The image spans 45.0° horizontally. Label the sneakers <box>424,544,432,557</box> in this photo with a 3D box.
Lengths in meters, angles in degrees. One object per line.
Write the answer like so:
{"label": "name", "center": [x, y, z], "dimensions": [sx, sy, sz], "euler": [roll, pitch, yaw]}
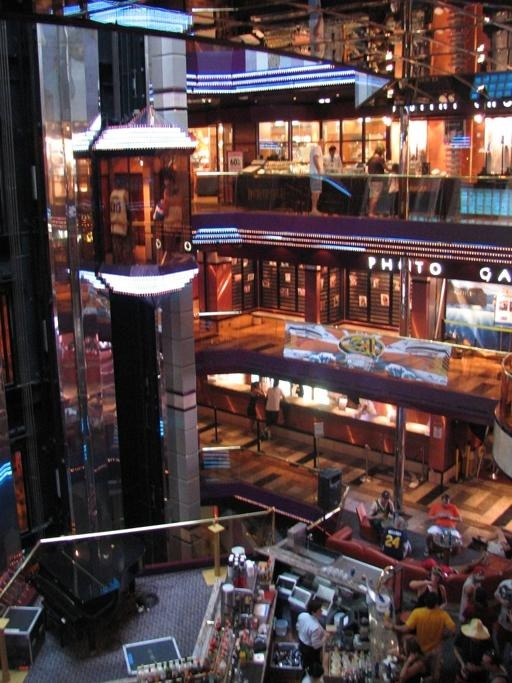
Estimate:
{"label": "sneakers", "center": [3.562, 4.316, 12.722], "dimensions": [0.102, 0.272, 0.250], "euler": [-2, -3, 7]}

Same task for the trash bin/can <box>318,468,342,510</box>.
{"label": "trash bin/can", "center": [1.684, 3.415, 14.157], "dimensions": [0.466, 1.108, 0.668], "euler": [4, 12, 27]}

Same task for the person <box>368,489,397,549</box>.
{"label": "person", "center": [2.787, 3.858, 13.406], "dimensions": [0.481, 1.328, 0.709], "euler": [-4, 7, -5]}

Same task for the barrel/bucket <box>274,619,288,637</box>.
{"label": "barrel/bucket", "center": [0.257, 3.017, 6.462], "dimensions": [0.101, 0.132, 0.158], "euler": [1, 3, 5]}

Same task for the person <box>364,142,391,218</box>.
{"label": "person", "center": [2.926, -3.925, 15.009], "dimensions": [0.478, 1.704, 1.053], "euler": [2, 11, 10]}

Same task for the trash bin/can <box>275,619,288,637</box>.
{"label": "trash bin/can", "center": [0.260, 3.021, 6.460], "dimensions": [0.098, 0.130, 0.153], "euler": [1, 4, 3]}

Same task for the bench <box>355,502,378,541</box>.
{"label": "bench", "center": [2.471, 3.998, 13.881], "dimensions": [0.505, 1.038, 0.675], "euler": [0, 13, 15]}

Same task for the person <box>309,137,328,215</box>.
{"label": "person", "center": [1.574, -4.246, 16.132], "dimensions": [0.387, 1.787, 0.906], "euler": [1, 11, 4]}

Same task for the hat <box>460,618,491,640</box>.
{"label": "hat", "center": [2.457, 3.248, 6.929], "dimensions": [0.225, 0.118, 0.255], "euler": [12, 19, 24]}

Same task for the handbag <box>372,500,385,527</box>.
{"label": "handbag", "center": [2.625, 3.732, 13.323], "dimensions": [0.147, 0.481, 0.313], "euler": [7, -1, 6]}

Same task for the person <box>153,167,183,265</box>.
{"label": "person", "center": [-1.273, -1.856, 9.114], "dimensions": [0.209, 1.372, 0.591], "euler": [6, 12, 28]}

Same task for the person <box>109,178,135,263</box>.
{"label": "person", "center": [-1.974, -1.750, 8.952], "dimensions": [0.380, 1.199, 0.151], "euler": [5, 11, 25]}

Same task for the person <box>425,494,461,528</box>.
{"label": "person", "center": [3.776, 3.412, 12.413], "dimensions": [0.557, 0.876, 0.518], "euler": [3, 11, 15]}
